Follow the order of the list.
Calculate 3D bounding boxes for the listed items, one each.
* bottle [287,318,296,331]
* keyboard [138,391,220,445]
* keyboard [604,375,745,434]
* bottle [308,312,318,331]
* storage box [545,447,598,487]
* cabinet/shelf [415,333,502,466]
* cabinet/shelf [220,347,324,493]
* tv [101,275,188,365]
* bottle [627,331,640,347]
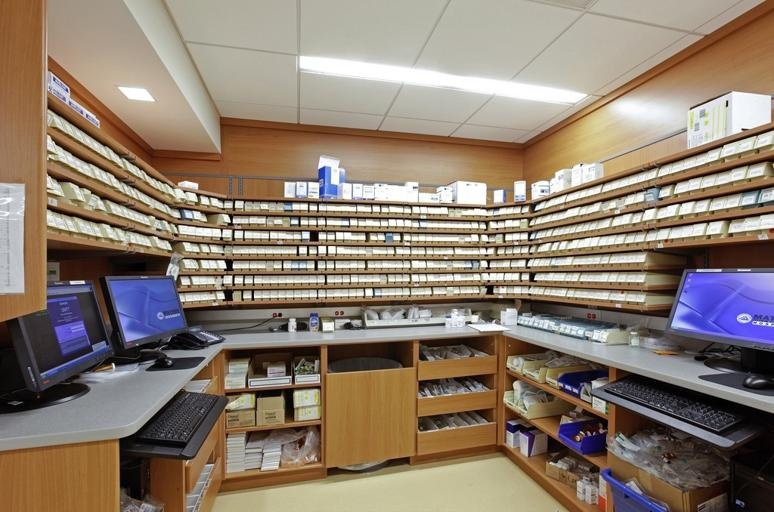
[{"bbox_3d":[-0.863,0.614,4.190,0.083,0.123,0.138,-1,0,-12],"label":"bottle"},{"bbox_3d":[-1.209,0.970,2.779,0.349,0.087,0.706,3,5,-6],"label":"keyboard"},{"bbox_3d":[1.782,0.914,2.920,0.330,0.237,0.670,-1,0,-35],"label":"keyboard"},{"bbox_3d":[-0.663,0.590,4.193,0.091,0.163,0.118,-1,0,-10],"label":"bottle"},{"bbox_3d":[1.424,1.632,3.589,0.248,0.064,0.209,-1,2,-22],"label":"storage box"},{"bbox_3d":[0.543,1.215,4.245,0.851,1.008,0.626,-1,0,-13],"label":"cabinet/shelf"},{"bbox_3d":[-0.958,1.337,3.951,0.821,1.118,0.568,-1,0,-10],"label":"cabinet/shelf"},{"bbox_3d":[-1.691,0.449,3.188,0.371,0.477,0.598,-7,-9,8],"label":"tv"},{"bbox_3d":[1.888,0.627,3.548,0.067,0.094,0.087,-1,0,28],"label":"bottle"}]
